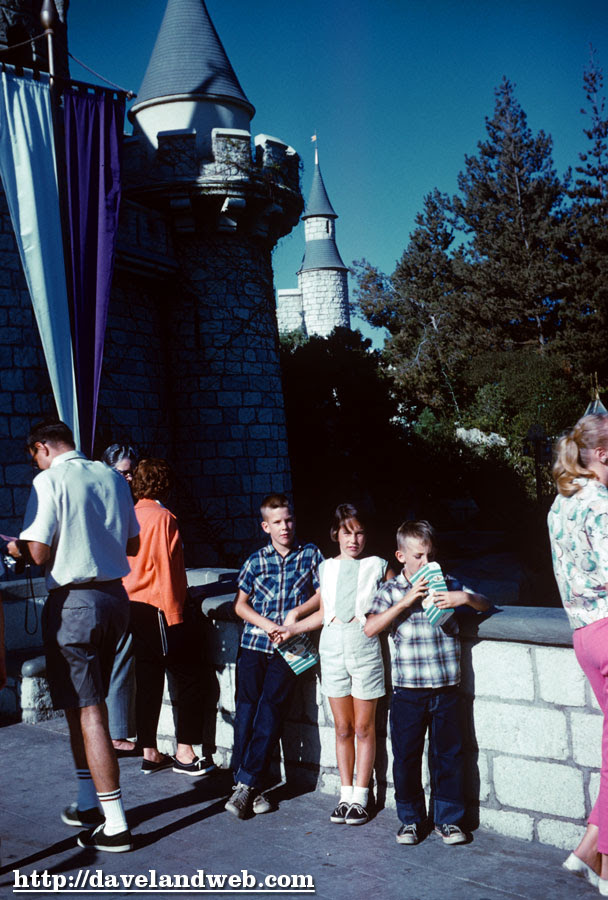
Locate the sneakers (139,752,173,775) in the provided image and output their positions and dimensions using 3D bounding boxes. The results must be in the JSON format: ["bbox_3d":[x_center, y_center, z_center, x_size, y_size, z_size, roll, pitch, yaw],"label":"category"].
[{"bbox_3d":[-0.719,1.543,4.537,0.059,0.061,0.168,1,3,41],"label":"sneakers"}]

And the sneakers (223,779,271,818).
[{"bbox_3d":[-0.230,1.473,3.862,0.099,0.086,0.235,-17,-1,-12],"label":"sneakers"}]

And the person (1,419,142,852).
[{"bbox_3d":[-0.894,0.694,3.647,0.485,1.568,0.496,-3,1,-11],"label":"person"}]

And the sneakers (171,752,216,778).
[{"bbox_3d":[-0.532,1.517,4.440,0.181,0.065,0.091,3,2,7],"label":"sneakers"}]

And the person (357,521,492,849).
[{"bbox_3d":[0.463,0.891,3.616,0.393,0.950,0.409,-3,1,-3],"label":"person"}]

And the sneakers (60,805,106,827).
[{"bbox_3d":[-0.900,1.471,3.736,0.082,0.069,0.171,2,3,-42],"label":"sneakers"}]

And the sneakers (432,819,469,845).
[{"bbox_3d":[0.578,1.449,3.476,0.057,0.048,0.127,1,-11,-13],"label":"sneakers"}]

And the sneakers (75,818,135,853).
[{"bbox_3d":[-0.747,1.475,3.520,0.224,0.081,0.088,2,-12,24],"label":"sneakers"}]
